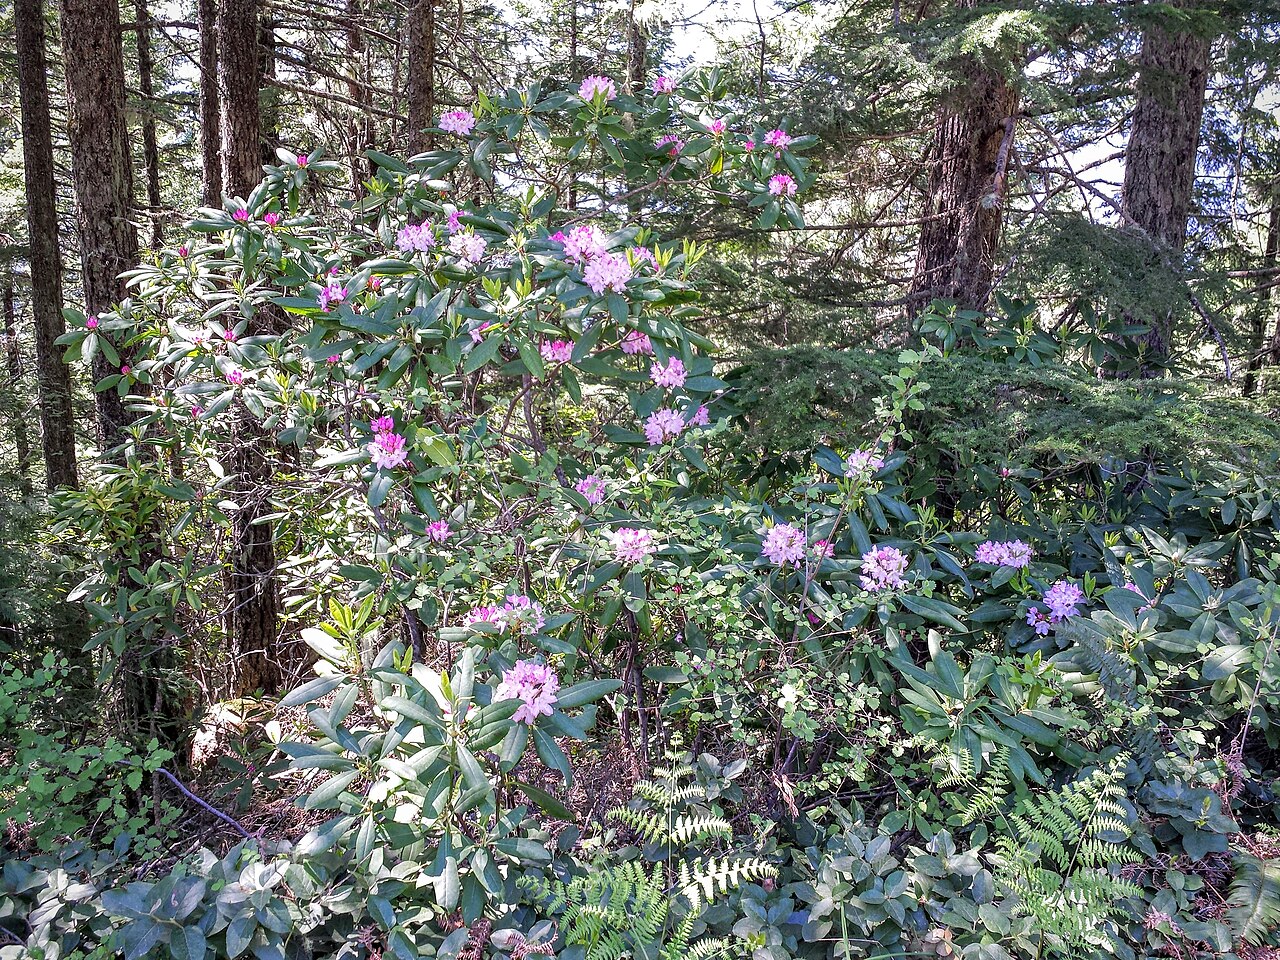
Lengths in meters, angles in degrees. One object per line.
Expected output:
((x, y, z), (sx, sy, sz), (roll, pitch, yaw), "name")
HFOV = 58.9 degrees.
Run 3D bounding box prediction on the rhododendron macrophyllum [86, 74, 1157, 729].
((0.003, -0.335, 6.396), (4.177, 3.658, 4.170), (4, -1, -38), "rhododendron macrophyllum")
